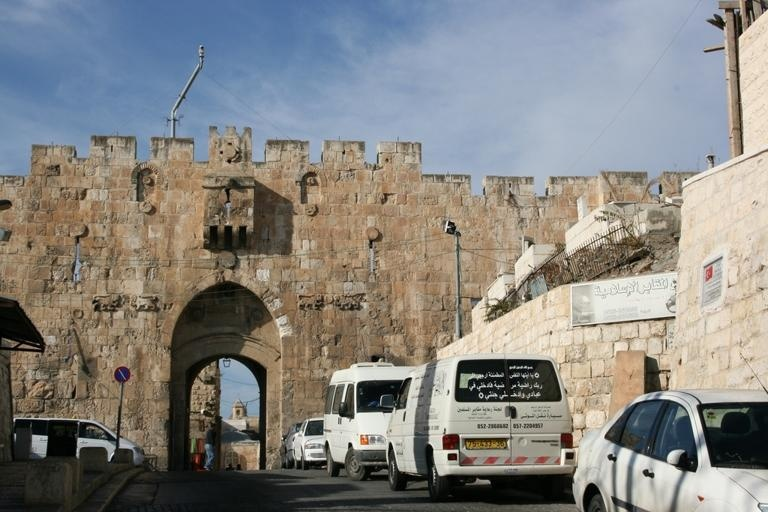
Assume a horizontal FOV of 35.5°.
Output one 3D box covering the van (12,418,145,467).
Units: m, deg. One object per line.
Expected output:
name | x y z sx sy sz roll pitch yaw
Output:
van | -9.746 5.789 37.370 4.053 1.550 1.404 4 -12 -16
